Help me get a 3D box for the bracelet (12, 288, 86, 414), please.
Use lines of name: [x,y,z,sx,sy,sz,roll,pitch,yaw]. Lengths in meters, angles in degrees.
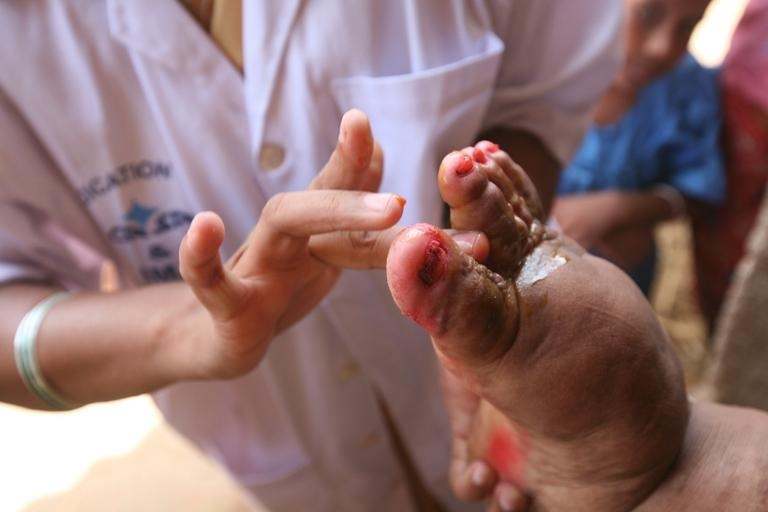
bracelet: [-0.516,0.153,1.096,0.056,0.167,0.118,2,36,11]
